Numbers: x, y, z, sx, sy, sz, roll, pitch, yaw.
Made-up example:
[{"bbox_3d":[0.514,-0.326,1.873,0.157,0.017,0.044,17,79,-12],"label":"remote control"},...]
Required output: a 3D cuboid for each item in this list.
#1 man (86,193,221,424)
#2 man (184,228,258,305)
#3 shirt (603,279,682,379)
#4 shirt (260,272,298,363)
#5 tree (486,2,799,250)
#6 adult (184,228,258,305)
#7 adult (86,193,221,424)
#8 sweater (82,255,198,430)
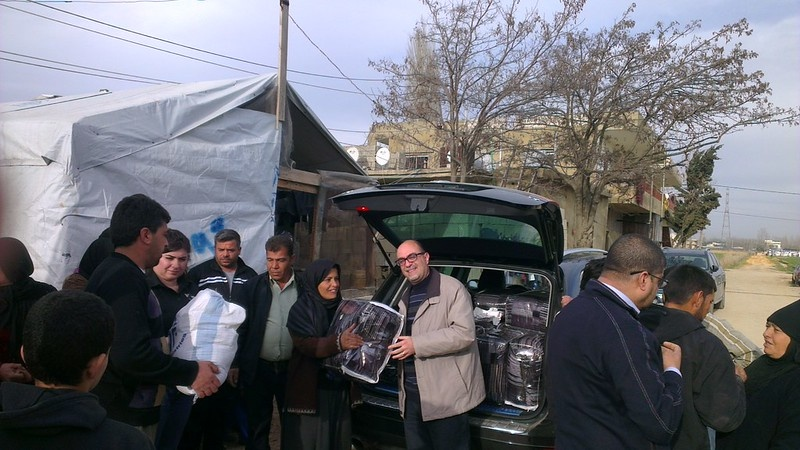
[{"bbox_3d":[-2.339,0.834,5.548,1.036,2.711,1.394,-13,37,-32],"label":"man"},{"bbox_3d":[-2.217,0.490,7.148,0.829,0.986,0.407,2,-10,-22],"label":"man"},{"bbox_3d":[2.138,0.833,5.111,0.627,0.787,0.437,-1,3,31],"label":"shirt"},{"bbox_3d":[-1.284,1.043,6.287,0.560,0.675,0.745,-1,8,-5],"label":"shirt"},{"bbox_3d":[6.933,-3.499,17.912,8.672,7.531,9.087,1,5,23],"label":"tree"},{"bbox_3d":[-2.217,0.490,7.148,0.829,0.986,0.407,2,-10,-22],"label":"adult"},{"bbox_3d":[-2.339,0.834,5.548,1.036,2.711,1.394,-13,37,-32],"label":"adult"},{"bbox_3d":[-2.472,1.056,5.630,0.932,1.408,1.497,6,-6,-34],"label":"sweater"}]
